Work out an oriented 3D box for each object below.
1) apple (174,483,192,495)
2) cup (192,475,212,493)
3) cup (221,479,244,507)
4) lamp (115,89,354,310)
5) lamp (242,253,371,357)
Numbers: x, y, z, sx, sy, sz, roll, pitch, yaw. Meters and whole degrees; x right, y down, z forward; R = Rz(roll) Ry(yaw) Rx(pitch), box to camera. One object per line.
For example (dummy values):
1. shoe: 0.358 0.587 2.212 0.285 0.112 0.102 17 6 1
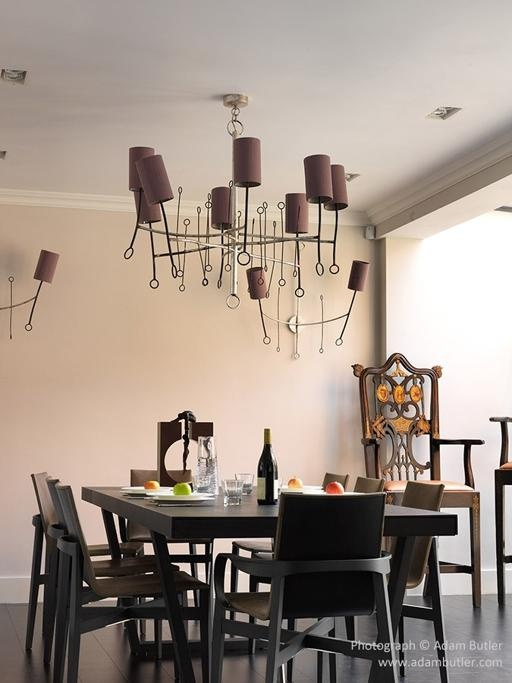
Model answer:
1. apple: -0.248 0.483 2.131 0.042 0.044 0.042 -2 -1 -1
2. cup: -0.206 0.544 2.435 0.062 0.069 0.063 2 0 0
3. cup: -0.080 0.465 2.005 0.082 0.099 0.084 -1 -4 0
4. lamp: -0.088 -0.603 2.597 0.895 0.786 0.865 -4 5 -29
5. lamp: 0.335 -0.248 4.695 0.757 0.608 0.196 2 -8 -15
